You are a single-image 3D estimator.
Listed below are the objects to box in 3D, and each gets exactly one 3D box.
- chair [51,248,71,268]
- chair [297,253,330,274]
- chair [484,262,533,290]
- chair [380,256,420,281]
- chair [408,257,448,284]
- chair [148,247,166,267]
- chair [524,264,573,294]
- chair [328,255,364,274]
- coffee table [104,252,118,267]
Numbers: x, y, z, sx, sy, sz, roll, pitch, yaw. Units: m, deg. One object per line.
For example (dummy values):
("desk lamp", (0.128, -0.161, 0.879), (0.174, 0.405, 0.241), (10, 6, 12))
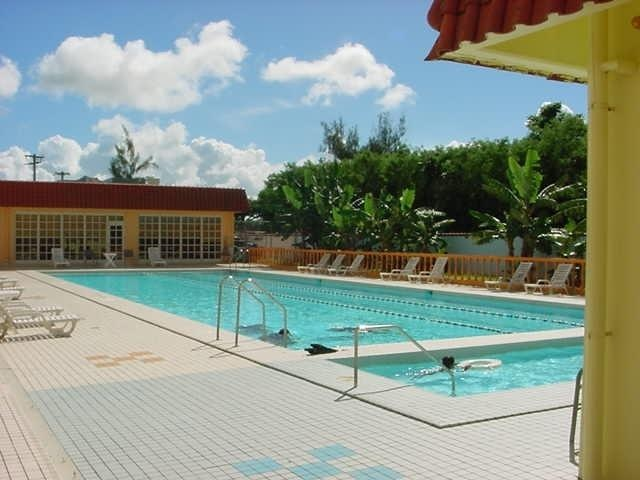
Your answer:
("chair", (-12.986, 0.908, 24.940), (0.678, 0.810, 1.287), (1, 5, -37))
("chair", (-0.202, 1.048, 21.908), (1.287, 0.713, 0.870), (2, -2, -18))
("chair", (5.780, 1.096, 15.177), (1.358, 0.772, 0.856), (2, -2, -25))
("chair", (2.899, 1.089, 18.400), (1.484, 0.846, 0.784), (1, 1, 18))
("chair", (3.823, 1.025, 17.504), (1.138, 0.835, 1.146), (2, 0, 1))
("chair", (-8.572, 0.908, 26.018), (0.725, 0.831, 1.351), (1, 6, -30))
("chair", (6.487, 1.086, 14.201), (1.230, 0.743, 1.276), (2, -1, 22))
("chair", (1.180, 1.032, 20.318), (1.389, 0.792, 0.758), (3, -2, -25))
("coffee table", (-10.594, 0.980, 25.352), (0.887, 0.787, 0.861), (-2, 4, -23))
